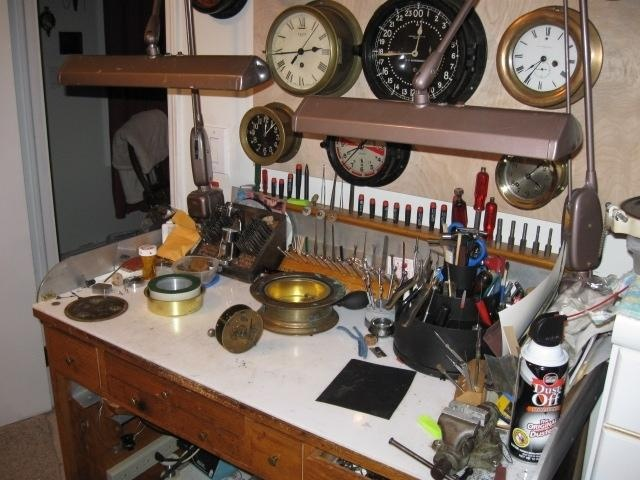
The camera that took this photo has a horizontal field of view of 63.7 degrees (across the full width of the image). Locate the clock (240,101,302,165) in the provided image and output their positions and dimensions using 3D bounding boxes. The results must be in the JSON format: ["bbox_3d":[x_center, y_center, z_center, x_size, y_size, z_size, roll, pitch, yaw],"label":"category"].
[{"bbox_3d":[-0.251,-0.494,2.429,0.270,0.290,0.128,23,32,25],"label":"clock"}]

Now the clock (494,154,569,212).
[{"bbox_3d":[0.801,-0.244,1.973,0.113,0.211,0.216,-13,26,-38],"label":"clock"}]

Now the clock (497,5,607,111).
[{"bbox_3d":[0.830,-0.649,1.816,0.420,0.461,0.115,5,10,32],"label":"clock"}]

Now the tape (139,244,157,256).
[{"bbox_3d":[-0.760,0.036,2.254,0.054,0.026,0.057,1,11,-3],"label":"tape"}]

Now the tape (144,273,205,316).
[{"bbox_3d":[-0.582,0.184,2.066,0.166,0.073,0.176,2,23,-4],"label":"tape"}]

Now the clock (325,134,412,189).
[{"bbox_3d":[0.191,-0.347,2.281,0.414,0.201,0.056,13,20,28],"label":"clock"}]
